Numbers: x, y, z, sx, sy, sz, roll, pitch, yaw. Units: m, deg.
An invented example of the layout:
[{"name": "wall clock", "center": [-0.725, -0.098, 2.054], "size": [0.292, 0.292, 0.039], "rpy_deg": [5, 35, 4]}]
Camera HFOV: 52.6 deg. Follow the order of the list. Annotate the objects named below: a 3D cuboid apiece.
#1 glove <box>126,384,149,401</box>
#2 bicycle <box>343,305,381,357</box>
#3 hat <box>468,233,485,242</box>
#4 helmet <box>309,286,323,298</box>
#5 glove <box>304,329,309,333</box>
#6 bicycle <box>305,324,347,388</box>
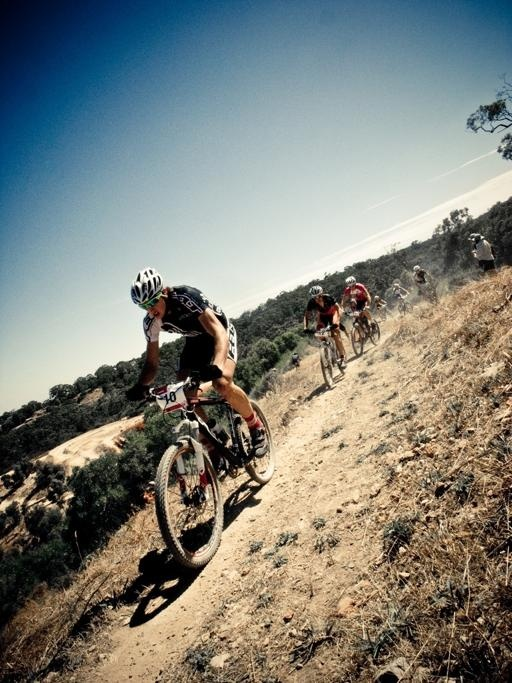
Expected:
[{"name": "glove", "center": [-1.204, 0.520, 5.289], "size": [0.196, 0.179, 0.066], "rpy_deg": [10, 42, -9]}, {"name": "bicycle", "center": [2.487, -0.253, 13.262], "size": [0.704, 0.949, 1.585], "rpy_deg": [-12, 4, 28]}, {"name": "hat", "center": [5.860, -2.778, 13.828], "size": [0.477, 0.198, 0.491], "rpy_deg": [-8, 9, 18]}, {"name": "helmet", "center": [1.209, -1.013, 10.481], "size": [0.236, 0.236, 0.296], "rpy_deg": [-19, 2, 7]}, {"name": "glove", "center": [1.051, -0.212, 10.562], "size": [0.092, 0.084, 0.374], "rpy_deg": [-19, 2, -2]}, {"name": "bicycle", "center": [1.568, 0.240, 11.130], "size": [0.683, 0.922, 1.495], "rpy_deg": [-22, 3, 16]}]
